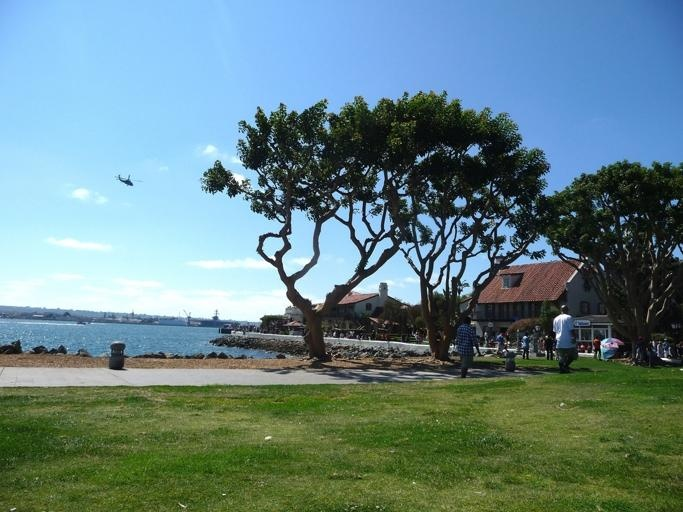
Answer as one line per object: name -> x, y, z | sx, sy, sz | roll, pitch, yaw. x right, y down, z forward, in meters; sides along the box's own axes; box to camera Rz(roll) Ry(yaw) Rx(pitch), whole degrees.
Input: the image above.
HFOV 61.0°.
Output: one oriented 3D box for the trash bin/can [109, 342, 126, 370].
trash bin/can -> -8.016, 3.526, 20.656 | 0.502, 1.005, 1.452 | 6, -13, -21
